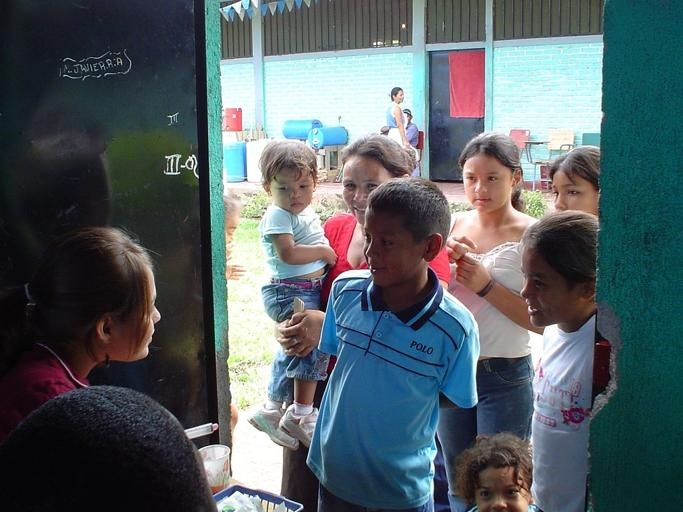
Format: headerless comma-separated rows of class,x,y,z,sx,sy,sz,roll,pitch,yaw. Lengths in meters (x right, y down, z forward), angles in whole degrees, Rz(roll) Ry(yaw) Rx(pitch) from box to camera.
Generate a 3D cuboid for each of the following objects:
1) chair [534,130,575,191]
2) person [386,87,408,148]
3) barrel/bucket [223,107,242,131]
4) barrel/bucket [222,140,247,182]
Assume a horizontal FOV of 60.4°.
chair,4.245,-1.858,11.868,0.898,1.263,0.951,-1,16,20
person,1.103,-2.765,11.670,0.467,0.468,1.845,-20,-21,1
barrel/bucket,-2.814,-3.521,15.158,0.381,0.614,1.142,-1,11,8
barrel/bucket,-2.576,-2.252,14.157,0.682,0.972,0.387,-10,13,-38
